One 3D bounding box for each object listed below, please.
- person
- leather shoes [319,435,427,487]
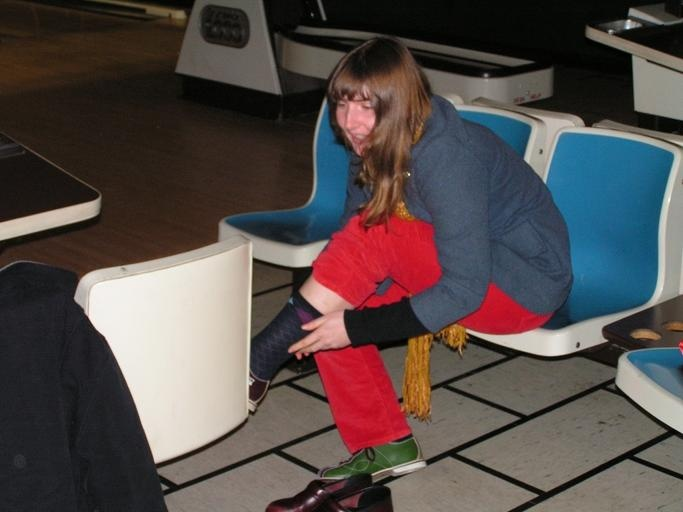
[{"bbox_3d":[0.137,0.050,1.576,1.089,1.154,0.560,-1,7,-26],"label":"person"},{"bbox_3d":[0.113,0.594,1.734,0.346,0.153,0.118,-9,16,-4],"label":"leather shoes"}]
